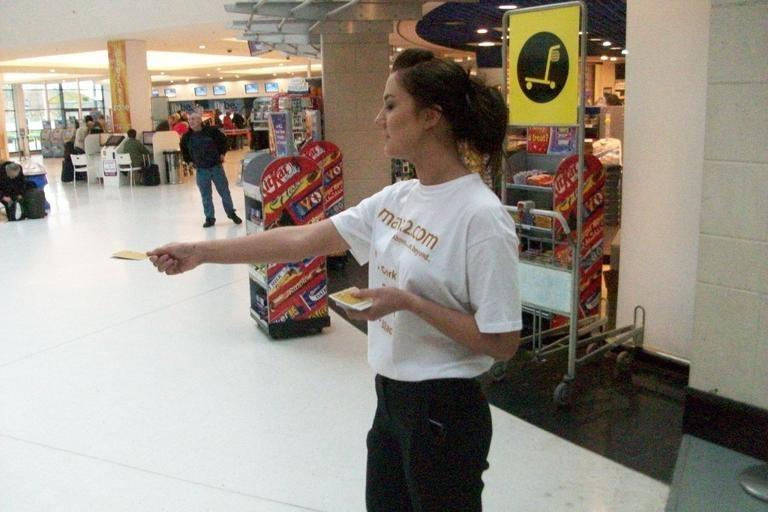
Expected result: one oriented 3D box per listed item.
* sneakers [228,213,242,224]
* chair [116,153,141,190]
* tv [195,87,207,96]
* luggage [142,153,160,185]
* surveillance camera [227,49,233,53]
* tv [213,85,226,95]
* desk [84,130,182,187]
[{"bbox_3d":[-2.816,-0.705,10.623,0.145,0.122,0.290,-34,35,-32],"label":"sneakers"},{"bbox_3d":[-7.400,-2.523,16.485,0.597,0.929,0.496,-1,10,3],"label":"chair"},{"bbox_3d":[-12.008,-10.783,37.150,0.720,0.435,0.096,5,-4,41],"label":"tv"},{"bbox_3d":[-6.877,-2.517,16.655,0.539,1.023,0.817,-4,13,-10],"label":"luggage"},{"bbox_3d":[-5.604,-7.428,20.504,0.173,0.060,0.172,-2,-19,-8],"label":"surveillance camera"},{"bbox_3d":[-10.467,-10.520,35.992,0.699,0.491,0.098,9,22,31],"label":"tv"},{"bbox_3d":[-7.378,-2.840,16.860,1.713,1.070,0.941,4,18,14],"label":"desk"}]
